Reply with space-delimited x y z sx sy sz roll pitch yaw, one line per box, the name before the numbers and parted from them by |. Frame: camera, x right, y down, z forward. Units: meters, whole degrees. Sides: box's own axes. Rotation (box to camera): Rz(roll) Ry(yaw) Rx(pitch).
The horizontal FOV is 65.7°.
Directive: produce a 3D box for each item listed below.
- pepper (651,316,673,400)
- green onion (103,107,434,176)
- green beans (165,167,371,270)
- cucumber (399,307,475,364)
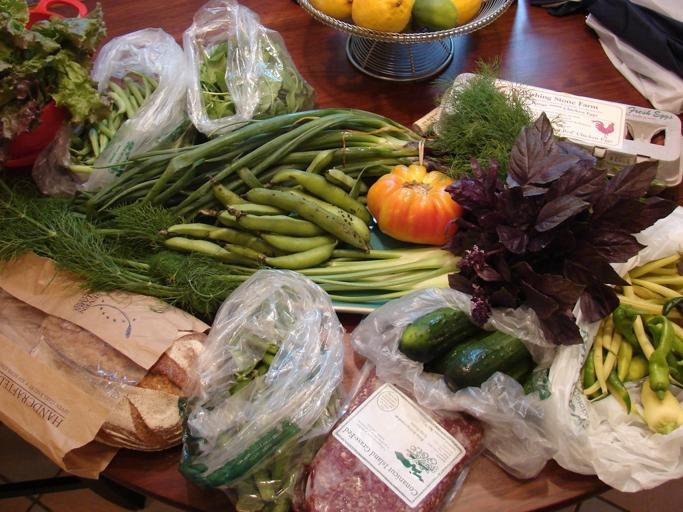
pepper | 0.724 0.226 1.184 0.051 0.083 0.184 21 45 18
green onion | -0.138 -0.307 1.500 0.743 0.140 0.204 -8 43 -11
green beans | -0.186 -0.076 1.428 0.493 0.144 0.256 6 51 -1
cucumber | 0.219 0.176 1.254 0.207 0.085 0.082 -22 54 -12
